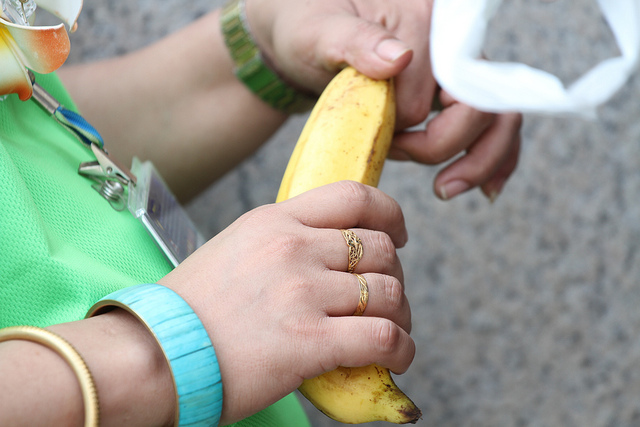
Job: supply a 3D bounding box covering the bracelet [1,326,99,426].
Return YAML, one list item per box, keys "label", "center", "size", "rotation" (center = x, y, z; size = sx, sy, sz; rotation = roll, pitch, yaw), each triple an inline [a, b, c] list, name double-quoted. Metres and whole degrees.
- label: "bracelet"
  center: [-0.280, 0.167, 0.663]
  size: [0.093, 0.116, 0.021]
  rotation: [7, 0, 15]

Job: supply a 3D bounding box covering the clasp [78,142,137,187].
- label: "clasp"
  center: [-0.286, -0.067, 0.870]
  size: [0.054, 0.072, 0.048]
  rotation: [-7, 23, -23]

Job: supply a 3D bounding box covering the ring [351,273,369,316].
- label: "ring"
  center: [0.056, 0.103, 0.758]
  size: [0.011, 0.040, 0.034]
  rotation: [5, -15, -20]
